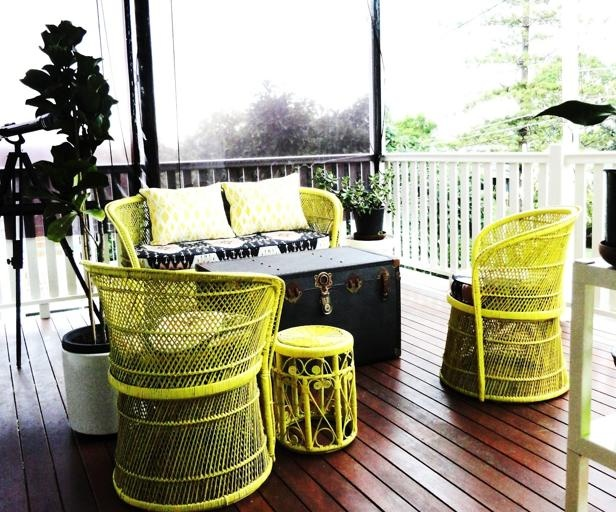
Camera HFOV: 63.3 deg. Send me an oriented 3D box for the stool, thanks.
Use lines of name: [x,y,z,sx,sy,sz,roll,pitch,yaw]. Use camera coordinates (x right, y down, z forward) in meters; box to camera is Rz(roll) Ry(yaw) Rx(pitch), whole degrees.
stool: [0.003,0.527,2.261,0.420,0.515,0.444,-4,7,-17]

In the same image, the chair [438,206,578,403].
chair: [0.915,0.149,2.866,0.754,1.145,0.858,1,8,10]

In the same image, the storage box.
storage box: [0.084,0.143,2.943,0.975,0.629,0.636,-6,9,-35]
